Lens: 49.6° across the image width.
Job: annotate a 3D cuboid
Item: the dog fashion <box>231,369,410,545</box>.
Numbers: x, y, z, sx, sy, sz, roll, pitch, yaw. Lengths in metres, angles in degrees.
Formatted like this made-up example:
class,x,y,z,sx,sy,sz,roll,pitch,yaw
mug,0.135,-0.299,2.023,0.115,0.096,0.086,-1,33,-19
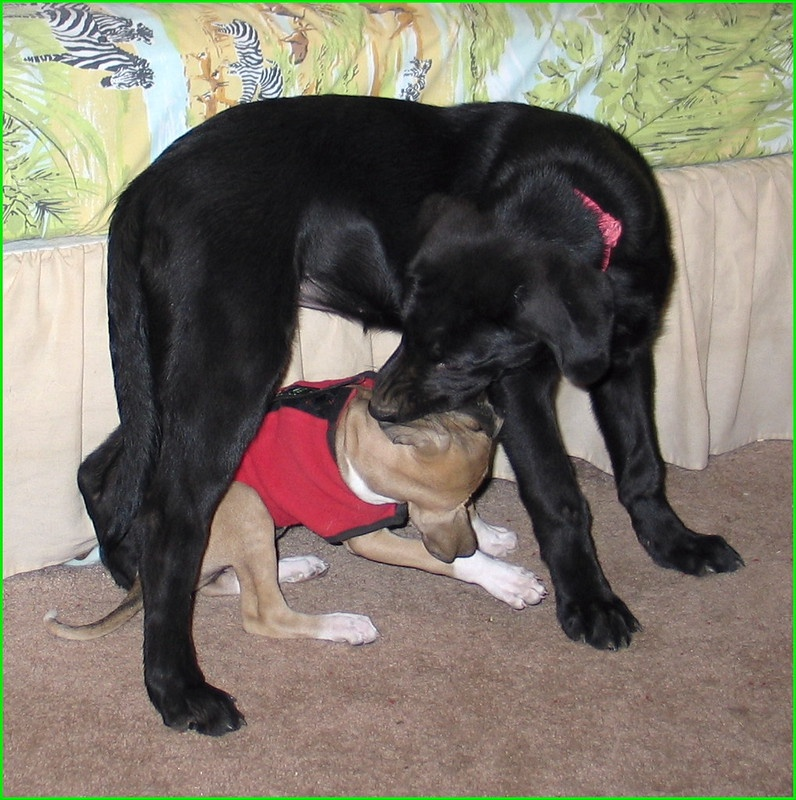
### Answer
class,x,y,z,sx,sy,sz,roll,pitch,yaw
dog fashion,-0.150,0.139,1.763,0.361,0.130,0.290,-7,65,-2

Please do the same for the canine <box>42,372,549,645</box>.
class,x,y,z,sx,sy,sz,roll,pitch,yaw
canine,-0.085,0.157,1.936,1.278,0.578,0.471,-13,36,-9

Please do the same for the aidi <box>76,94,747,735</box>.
class,x,y,z,sx,sy,sz,roll,pitch,yaw
aidi,0.028,0.008,1.661,1.185,1.123,0.540,-8,21,-20
